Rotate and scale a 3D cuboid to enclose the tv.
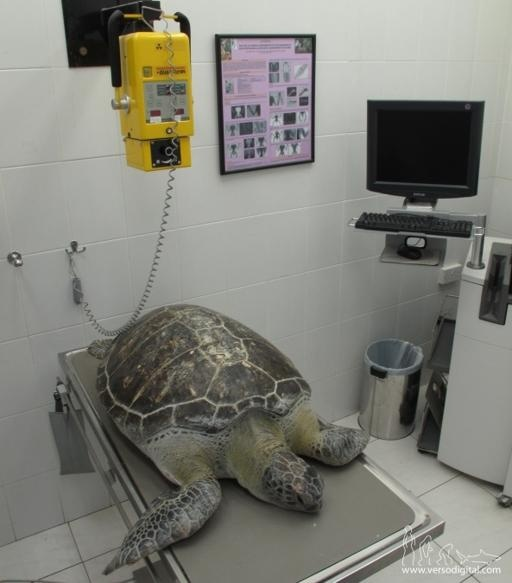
[{"bbox_3d":[0.618,-0.533,1.792,0.416,0.345,0.074,6,14,16],"label":"tv"}]

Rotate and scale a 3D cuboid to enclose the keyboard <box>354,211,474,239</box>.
[{"bbox_3d":[0.582,-0.255,1.773,0.410,0.068,0.179,9,16,23],"label":"keyboard"}]

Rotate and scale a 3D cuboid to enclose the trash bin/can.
[{"bbox_3d":[0.650,0.479,2.333,0.300,0.406,0.261,-21,35,-32],"label":"trash bin/can"}]

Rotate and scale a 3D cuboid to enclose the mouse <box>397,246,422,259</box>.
[{"bbox_3d":[0.621,-0.164,1.913,0.047,0.028,0.081,-12,22,-30],"label":"mouse"}]

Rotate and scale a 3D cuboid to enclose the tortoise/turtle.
[{"bbox_3d":[-0.096,0.248,1.003,0.581,0.191,0.582,-15,35,-36],"label":"tortoise/turtle"}]
